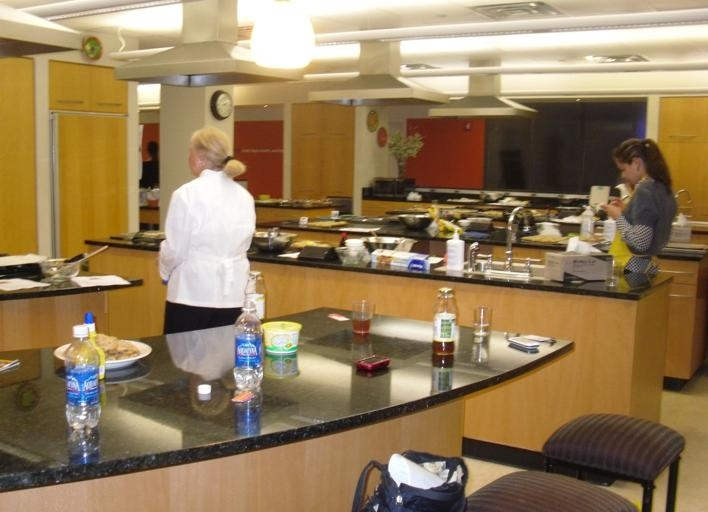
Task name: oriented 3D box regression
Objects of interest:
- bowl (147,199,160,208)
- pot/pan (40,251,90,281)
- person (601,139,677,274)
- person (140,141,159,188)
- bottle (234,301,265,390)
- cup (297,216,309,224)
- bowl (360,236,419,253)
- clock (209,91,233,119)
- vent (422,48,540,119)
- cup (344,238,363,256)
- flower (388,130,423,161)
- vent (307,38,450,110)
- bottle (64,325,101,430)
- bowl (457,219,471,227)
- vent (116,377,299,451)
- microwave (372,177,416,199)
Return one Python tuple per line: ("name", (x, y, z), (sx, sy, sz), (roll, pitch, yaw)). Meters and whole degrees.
("bowl", (-3.474, -0.905, 9.922), (0.264, 0.156, 0.237), (1, 2, -19))
("pot/pan", (-1.891, 0.077, 3.742), (0.261, 0.096, 0.185), (0, 3, 16))
("person", (2.220, -0.401, 4.424), (0.487, 1.008, 0.741), (6, 13, 21))
("person", (-3.639, -1.598, 10.115), (0.296, 0.817, 1.259), (-4, 12, -20))
("bottle", (-0.393, 0.319, 2.116), (0.105, 0.301, 0.261), (-1, 12, -11))
("cup", (-0.632, -0.441, 7.084), (0.181, 0.073, 0.230), (-1, 5, -4))
("bowl", (0.345, -0.085, 4.769), (0.369, 0.126, 0.541), (-5, 12, -31))
("clock", (-1.440, -1.652, 6.294), (0.116, 0.319, 0.310), (7, 13, 24))
("vent", (1.738, -2.217, 7.666), (1.248, 0.620, 1.173), (8, 18, 27))
("cup", (-0.002, -0.068, 4.526), (0.148, 0.125, 0.149), (1, 11, 0))
("flower", (0.931, -2.043, 10.746), (0.580, 0.546, 0.522), (1, 11, 1))
("vent", (0.234, -1.795, 5.558), (1.044, 0.610, 0.855), (8, 13, 35))
("bottle", (-0.876, 0.365, 1.838), (0.112, 0.291, 0.293), (-5, 13, -25))
("bowl", (1.304, -0.395, 6.807), (0.138, 0.084, 0.129), (-1, 14, 0))
("vent", (-0.483, 0.516, 1.859), (0.266, 0.051, 0.248), (-11, 21, -44))
("microwave", (0.752, -1.367, 11.269), (0.813, 0.385, 0.771), (2, 10, 6))
